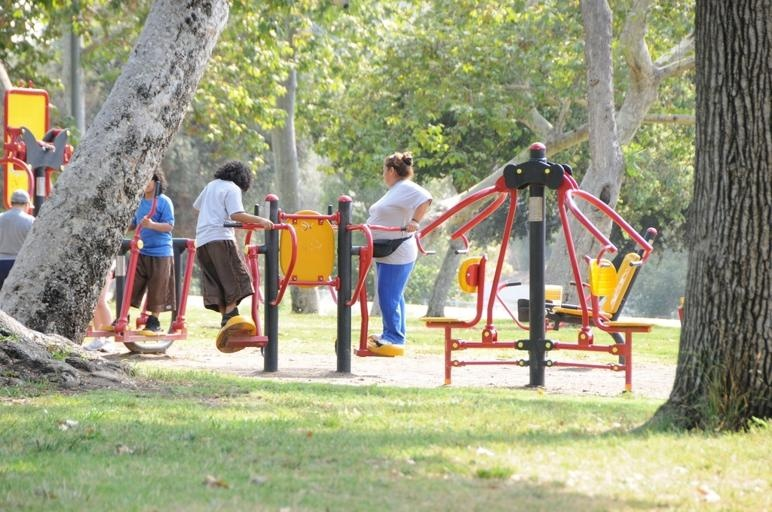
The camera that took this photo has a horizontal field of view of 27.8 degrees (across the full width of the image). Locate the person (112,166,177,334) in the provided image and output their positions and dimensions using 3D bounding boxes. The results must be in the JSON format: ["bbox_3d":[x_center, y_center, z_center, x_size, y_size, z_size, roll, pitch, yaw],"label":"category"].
[{"bbox_3d":[-4.106,-0.084,27.383,0.727,2.822,1.039,1,-4,8],"label":"person"}]

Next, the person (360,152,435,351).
[{"bbox_3d":[0.162,-0.074,26.584,0.989,3.486,0.878,2,-4,-1],"label":"person"}]

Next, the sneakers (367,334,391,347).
[{"bbox_3d":[-0.137,1.416,26.631,0.303,0.108,0.171,7,-6,27],"label":"sneakers"}]

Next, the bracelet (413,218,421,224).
[{"bbox_3d":[0.498,-0.593,26.242,0.112,0.103,0.216,2,-4,-3],"label":"bracelet"}]

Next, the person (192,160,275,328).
[{"bbox_3d":[-2.640,-0.233,25.890,1.131,2.788,0.745,2,-4,-2],"label":"person"}]

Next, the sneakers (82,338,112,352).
[{"bbox_3d":[-5.164,1.559,27.784,0.544,0.229,0.210,5,-4,-29],"label":"sneakers"}]
